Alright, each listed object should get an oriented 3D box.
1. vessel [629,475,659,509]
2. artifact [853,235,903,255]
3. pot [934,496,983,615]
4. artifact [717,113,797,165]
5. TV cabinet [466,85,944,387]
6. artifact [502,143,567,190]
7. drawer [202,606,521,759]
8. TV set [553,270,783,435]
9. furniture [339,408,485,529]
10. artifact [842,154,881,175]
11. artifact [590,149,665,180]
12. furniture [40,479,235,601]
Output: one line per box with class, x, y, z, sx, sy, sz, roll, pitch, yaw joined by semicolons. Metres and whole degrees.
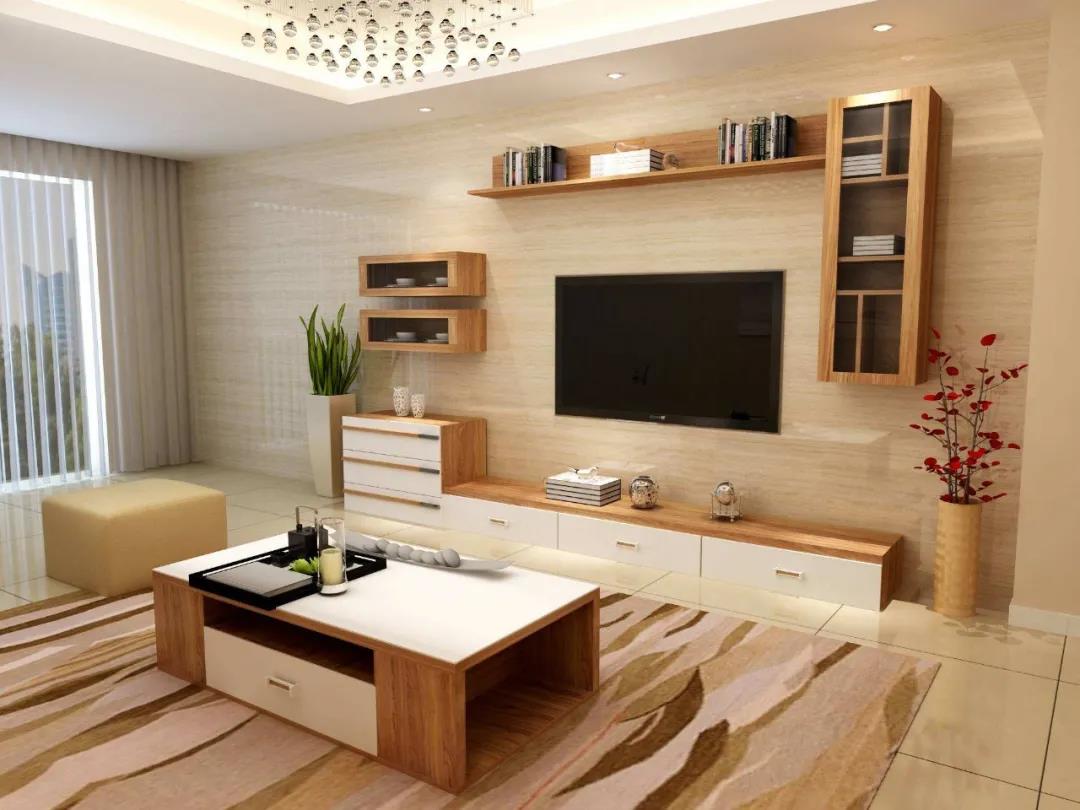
vessel;0.671;0.565;4.904;0.258;0.168;0.217;0;0;15
artifact;1.820;-0.852;4.022;0.217;0.076;0.152;1;2;43
pot;2.210;0.812;3.953;0.221;0.607;0.188;4;16;16
artifact;1.295;-1.548;4.403;0.524;0.256;0.258;3;7;29
TV cabinet;1.490;-0.942;4.410;1.642;1.551;0.538;12;20;44
artifact;-0.022;-1.631;5.167;0.514;0.249;0.260;4;7;32
drawer;-0.942;1.119;3.175;0.953;0.233;0.421;7;0;20
TV set;0.831;-0.378;5.078;0.097;0.992;2.066;-8;10;-36
furniture;-0.863;0.503;6.017;0.833;0.773;1.462;-3;3;-40
artifact;1.738;-1.281;4.020;0.205;0.083;0.146;3;6;40
artifact;0.579;-1.523;4.782;0.341;0.080;0.230;2;4;37
furniture;-2.405;0.756;4.589;0.876;0.409;0.856;1;3;40
